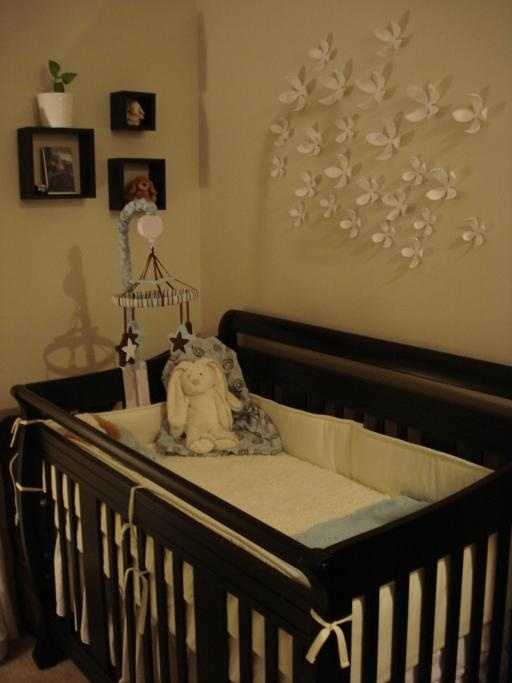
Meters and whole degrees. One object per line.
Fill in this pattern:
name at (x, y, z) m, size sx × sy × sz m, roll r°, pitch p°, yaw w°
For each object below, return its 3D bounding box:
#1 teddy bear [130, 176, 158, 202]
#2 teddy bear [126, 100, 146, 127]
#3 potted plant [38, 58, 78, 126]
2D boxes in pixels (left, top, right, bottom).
teddy bear at (-0.432, -0.589, 2.224) m, size 0.082 × 0.108 × 0.120 m, roll -2°, pitch 9°, yaw 25°
teddy bear at (-0.447, -0.830, 2.123) m, size 0.071 × 0.098 × 0.091 m, roll -2°, pitch 7°, yaw -23°
potted plant at (-0.655, -0.821, 1.918) m, size 0.110 × 0.190 × 0.113 m, roll 7°, pitch 18°, yaw -1°
